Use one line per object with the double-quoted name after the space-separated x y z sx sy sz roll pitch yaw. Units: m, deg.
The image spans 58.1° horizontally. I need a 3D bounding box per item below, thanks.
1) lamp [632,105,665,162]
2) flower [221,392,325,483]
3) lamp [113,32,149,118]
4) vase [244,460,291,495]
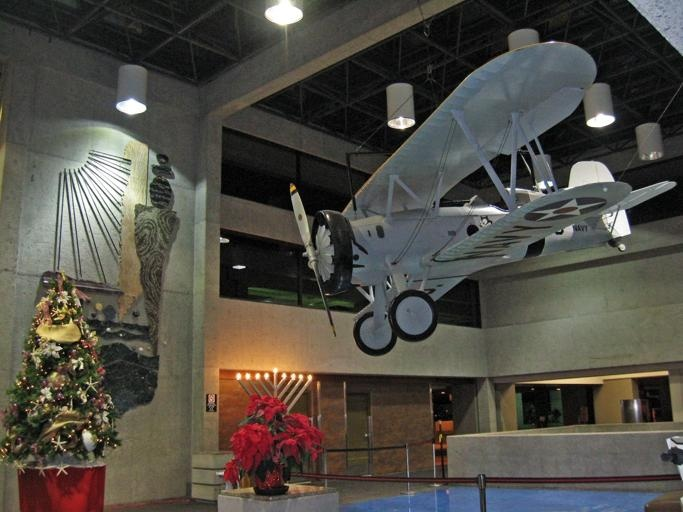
8.010 -3.001 15.975 0.966 1.095 0.985 -5 -14 25 "lamp"
-0.788 2.089 7.169 0.978 0.865 1.031 -1 -13 -8 "flower"
-4.464 -3.644 13.094 0.609 1.222 0.835 9 -18 -32 "lamp"
-0.810 2.473 6.810 0.468 0.361 0.287 1 -15 -6 "vase"
